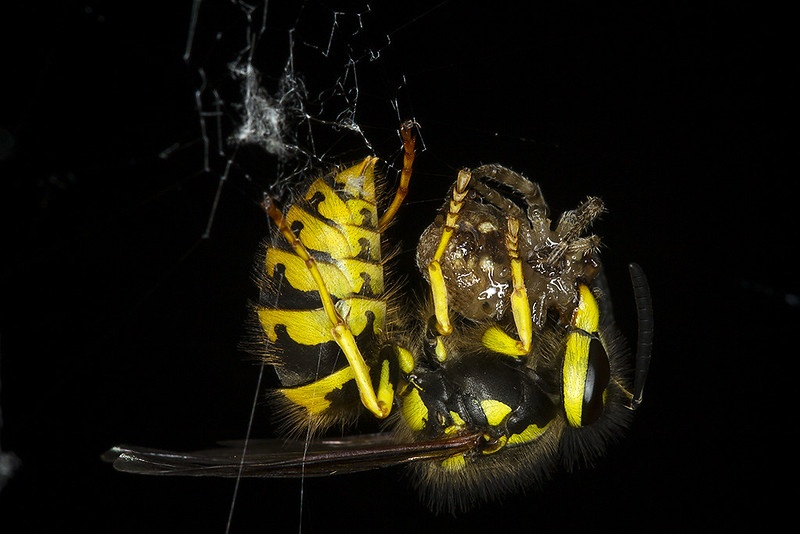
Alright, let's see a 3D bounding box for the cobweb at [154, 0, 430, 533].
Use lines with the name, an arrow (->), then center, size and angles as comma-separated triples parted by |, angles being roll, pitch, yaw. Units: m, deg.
cobweb -> -0.528, 0.072, 2.825 | 1.301, 1.415, 0.625 | -1, -4, -32
